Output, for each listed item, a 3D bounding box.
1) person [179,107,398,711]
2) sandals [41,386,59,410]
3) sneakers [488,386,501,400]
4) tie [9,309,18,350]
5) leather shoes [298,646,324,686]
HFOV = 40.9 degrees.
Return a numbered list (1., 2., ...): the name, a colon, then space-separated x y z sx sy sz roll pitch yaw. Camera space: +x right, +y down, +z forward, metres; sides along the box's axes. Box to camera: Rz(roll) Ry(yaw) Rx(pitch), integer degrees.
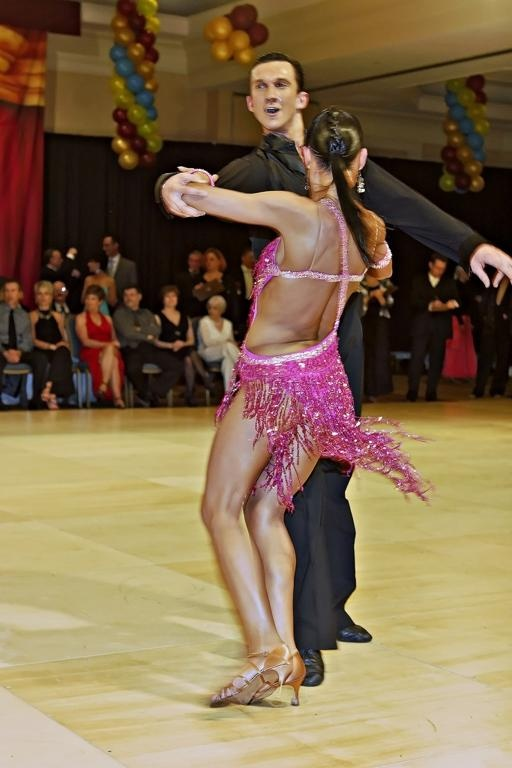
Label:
1. person: 0.061 0.100 1.419 0.479 1.156 0.202 -1 4 -31
2. sandals: -2.488 0.164 8.205 0.107 0.367 0.114 -35 36 -20
3. sneakers: 3.701 0.141 10.525 0.211 0.175 0.116 2 3 -6
4. tie: -2.860 -0.630 7.991 0.096 0.437 0.039 0 4 -27
5. leather shoes: 0.137 0.683 1.650 0.051 0.035 0.130 1 22 1
